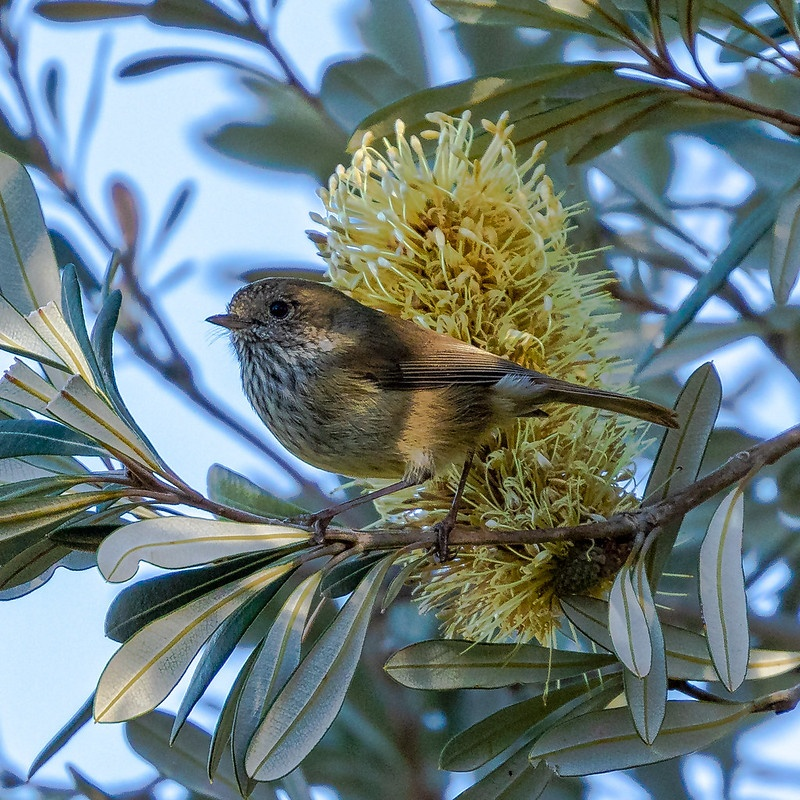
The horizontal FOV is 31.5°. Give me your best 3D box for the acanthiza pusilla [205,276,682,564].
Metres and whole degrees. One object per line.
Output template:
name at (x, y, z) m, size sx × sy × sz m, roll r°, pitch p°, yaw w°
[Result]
acanthiza pusilla at (0.141, 0.015, 3.906) m, size 1.272 × 0.528 × 0.331 m, roll 3°, pitch -5°, yaw -15°
